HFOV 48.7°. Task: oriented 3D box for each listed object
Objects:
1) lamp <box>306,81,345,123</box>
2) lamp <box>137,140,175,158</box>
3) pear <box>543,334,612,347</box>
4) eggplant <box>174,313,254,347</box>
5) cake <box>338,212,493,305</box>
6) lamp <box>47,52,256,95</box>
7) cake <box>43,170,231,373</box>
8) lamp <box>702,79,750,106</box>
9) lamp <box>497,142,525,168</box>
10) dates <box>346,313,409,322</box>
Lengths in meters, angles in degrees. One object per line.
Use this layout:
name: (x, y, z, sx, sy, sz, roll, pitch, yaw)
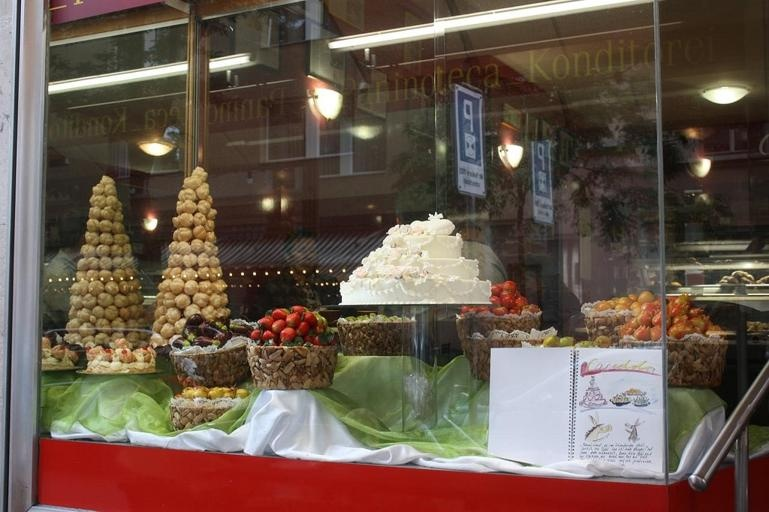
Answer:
lamp: (-0.454, -1.100, 6.241, 0.260, 0.221, 0.292, 9, -6, -19)
lamp: (-1.767, -0.830, 6.552, 0.081, 0.140, 0.291, -4, -3, 36)
pear: (1.072, 0.480, 4.774, 0.419, 0.067, 0.065, -5, -3, 38)
eggplant: (-1.188, 0.517, 5.893, 0.577, 0.232, 0.345, -3, -3, -1)
cake: (0.173, 0.092, 5.234, 0.897, 0.452, 0.325, -4, -3, 31)
lamp: (-1.791, -1.361, 6.519, 1.457, 0.422, 0.521, -2, -3, -19)
cake: (-1.814, 0.217, 6.342, 0.841, 1.722, 0.887, -4, 12, -18)
lamp: (2.093, -1.000, 5.235, 0.217, 0.076, 0.224, 4, -8, -37)
lamp: (0.766, -0.611, 5.149, 0.145, 0.123, 0.138, 0, -2, 7)
dates: (-0.080, 0.403, 5.490, 0.384, 0.065, 0.075, -4, -3, 25)
